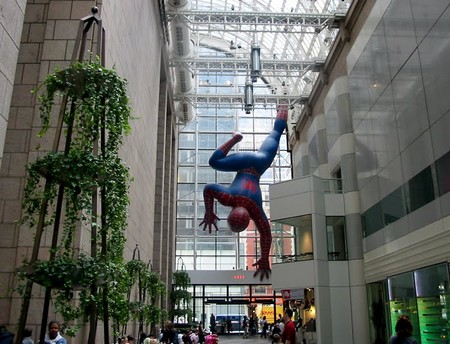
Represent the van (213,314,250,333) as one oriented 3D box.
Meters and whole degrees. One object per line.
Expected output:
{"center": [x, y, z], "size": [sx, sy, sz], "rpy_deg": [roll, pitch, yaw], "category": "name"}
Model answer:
{"center": [0.417, 12.288, 33.331], "size": [3.113, 1.573, 2.012], "rpy_deg": [0, -18, -2], "category": "van"}
